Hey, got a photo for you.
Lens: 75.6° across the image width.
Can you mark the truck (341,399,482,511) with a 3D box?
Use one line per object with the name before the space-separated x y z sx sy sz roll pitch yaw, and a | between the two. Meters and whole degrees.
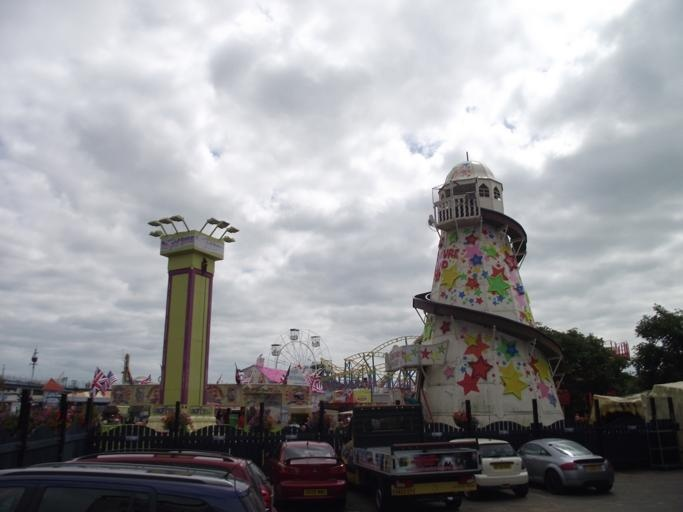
truck | 1.739 5.867 13.402 3.336 2.593 6.269 1 -19 -1
